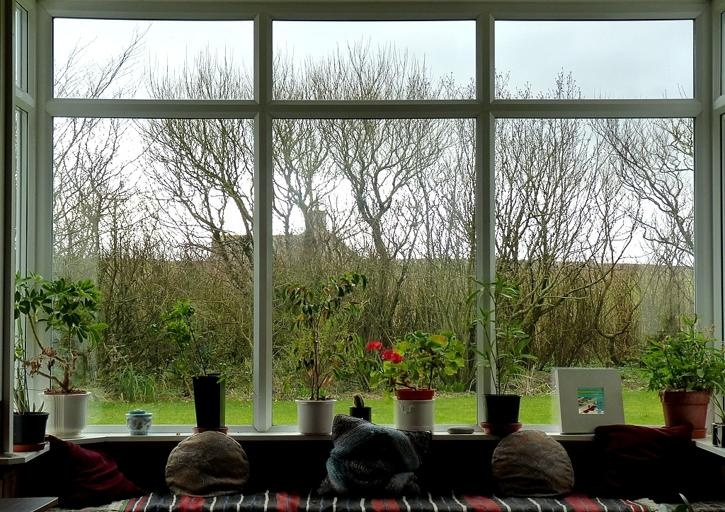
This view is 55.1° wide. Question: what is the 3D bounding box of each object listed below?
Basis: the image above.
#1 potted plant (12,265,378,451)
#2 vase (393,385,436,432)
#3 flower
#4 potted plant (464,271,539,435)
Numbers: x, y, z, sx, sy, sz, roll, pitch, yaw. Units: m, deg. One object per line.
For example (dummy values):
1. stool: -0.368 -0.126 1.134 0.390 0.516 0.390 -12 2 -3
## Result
1. potted plant: -1.305 0.751 5.339 2.669 1.263 0.708 0 -8 -10
2. vase: 0.402 1.201 5.347 0.308 0.312 0.298 6 -9 -44
3. flower: 0.403 0.797 5.285 0.494 0.341 0.589 -2 -21 0
4. potted plant: 1.074 0.753 5.392 0.505 1.227 0.388 -3 -8 12
